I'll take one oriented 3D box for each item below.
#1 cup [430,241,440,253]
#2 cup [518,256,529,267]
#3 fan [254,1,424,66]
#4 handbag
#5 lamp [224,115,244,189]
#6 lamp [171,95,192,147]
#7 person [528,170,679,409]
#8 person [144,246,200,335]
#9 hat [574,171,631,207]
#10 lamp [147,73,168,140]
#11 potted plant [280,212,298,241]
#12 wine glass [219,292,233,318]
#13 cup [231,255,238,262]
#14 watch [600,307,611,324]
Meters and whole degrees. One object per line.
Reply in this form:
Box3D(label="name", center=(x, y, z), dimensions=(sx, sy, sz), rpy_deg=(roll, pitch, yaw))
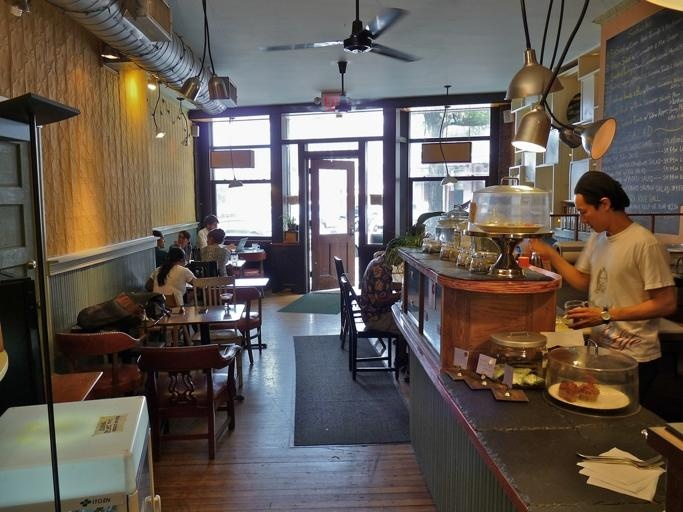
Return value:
Box3D(label="cup", center=(0.656, -0.061, 3.838), dimensions=(0.069, 0.080, 0.044), rpy_deg=(5, 12, 32))
Box3D(label="cup", center=(1.083, 0.037, 3.295), dimensions=(0.065, 0.058, 0.066), rpy_deg=(0, -1, 0))
Box3D(label="fan", center=(-0.038, -2.330, 5.726), dimensions=(0.788, 0.319, 0.794), rpy_deg=(2, -2, -25))
Box3D(label="handbag", center=(-1.875, 0.491, 4.838), dimensions=(0.446, 0.197, 0.455), rpy_deg=(0, 1, -2))
Box3D(label="lamp", center=(-1.974, -1.884, 10.131), dimensions=(0.277, 1.322, 0.923), rpy_deg=(-3, 10, -10))
Box3D(label="lamp", center=(-2.756, -2.329, 9.689), dimensions=(0.198, 0.767, 0.820), rpy_deg=(-4, 10, -13))
Box3D(label="person", center=(1.589, 0.259, 3.204), dimensions=(0.876, 1.487, 0.588), rpy_deg=(-2, 10, -4))
Box3D(label="person", center=(-1.749, 0.283, 5.848), dimensions=(0.590, 0.922, 0.584), rpy_deg=(8, 21, 7))
Box3D(label="hat", center=(1.476, -0.387, 3.122), dimensions=(0.255, 0.206, 0.200), rpy_deg=(8, 11, 25))
Box3D(label="lamp", center=(-2.571, -2.059, 7.676), dimensions=(0.181, 0.793, 2.152), rpy_deg=(-4, 11, -16))
Box3D(label="potted plant", center=(-0.922, -0.498, 10.189), dimensions=(0.259, 0.479, 0.343), rpy_deg=(-6, 11, -23))
Box3D(label="wine glass", center=(-1.183, 0.497, 5.818), dimensions=(0.199, 0.268, 0.209), rpy_deg=(0, 0, 0))
Box3D(label="cup", center=(-1.625, 0.042, 8.368), dimensions=(0.109, 0.076, 0.101), rpy_deg=(1, 2, 0))
Box3D(label="watch", center=(1.391, 0.314, 2.906), dimensions=(0.055, 0.093, 0.088), rpy_deg=(0, -8, 16))
